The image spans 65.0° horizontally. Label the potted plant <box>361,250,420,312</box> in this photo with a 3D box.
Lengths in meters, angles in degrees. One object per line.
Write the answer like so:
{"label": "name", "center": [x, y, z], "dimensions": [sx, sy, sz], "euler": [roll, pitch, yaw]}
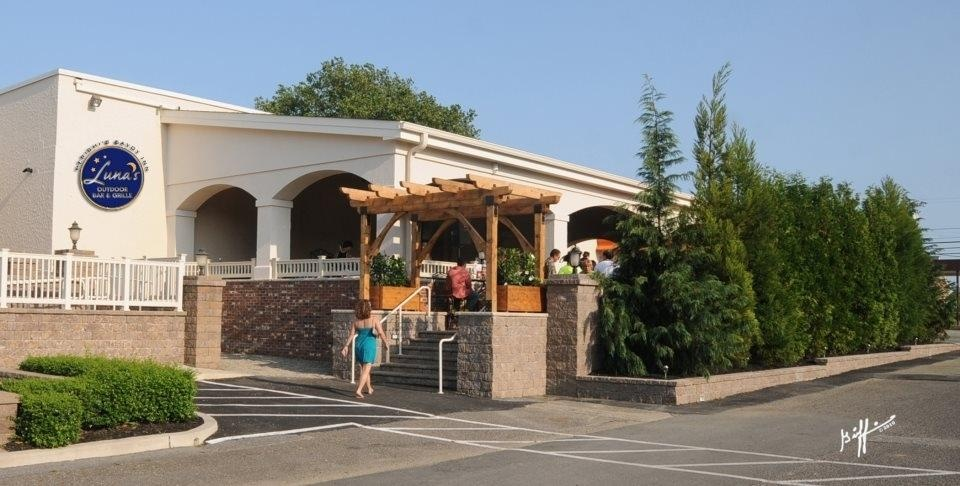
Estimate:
{"label": "potted plant", "center": [-3.318, 1.475, 27.767], "dimensions": [1.091, 1.915, 2.091], "euler": [-13, -15, 40]}

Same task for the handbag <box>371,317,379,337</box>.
{"label": "handbag", "center": [-3.211, 2.686, 23.334], "dimensions": [0.285, 0.734, 0.550], "euler": [1, 3, 1]}

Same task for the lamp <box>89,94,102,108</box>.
{"label": "lamp", "center": [-17.120, -6.327, 33.669], "dimensions": [0.542, 0.459, 0.491], "euler": [0, -18, -8]}

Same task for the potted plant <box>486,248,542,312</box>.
{"label": "potted plant", "center": [1.333, 1.404, 27.486], "dimensions": [2.255, 2.382, 1.939], "euler": [5, -10, -39]}
